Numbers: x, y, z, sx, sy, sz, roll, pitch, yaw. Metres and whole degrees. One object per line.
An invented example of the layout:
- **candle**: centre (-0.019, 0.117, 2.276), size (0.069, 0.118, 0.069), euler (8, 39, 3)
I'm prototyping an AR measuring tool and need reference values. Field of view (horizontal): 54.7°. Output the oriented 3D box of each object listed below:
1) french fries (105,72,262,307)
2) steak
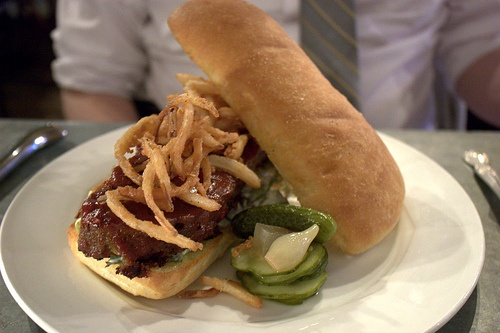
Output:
- **french fries**: centre (-0.553, 0.082, 3.346), size (0.817, 0.369, 1.588), euler (16, 59, -27)
- **steak**: centre (-0.501, 0.291, 3.262), size (0.602, 0.314, 1.168), euler (38, 67, 21)
